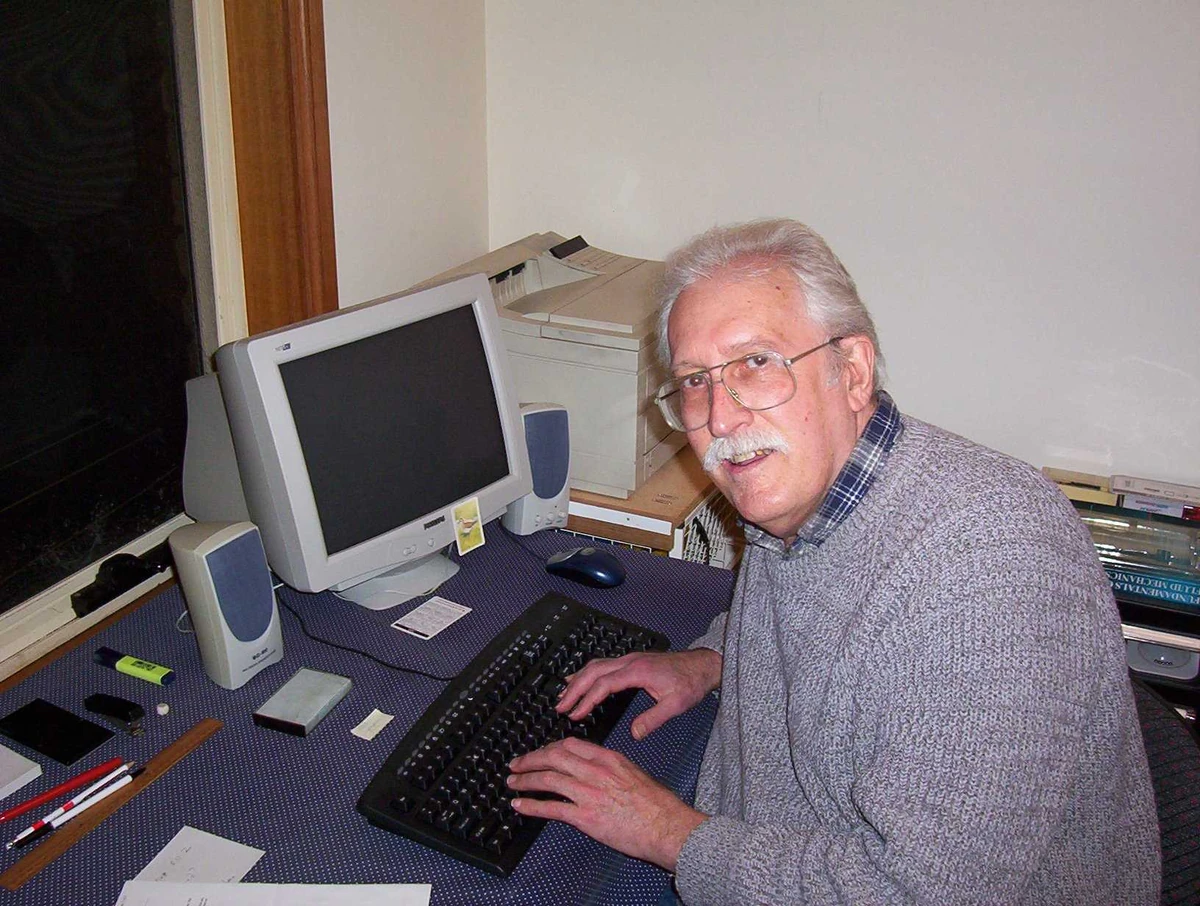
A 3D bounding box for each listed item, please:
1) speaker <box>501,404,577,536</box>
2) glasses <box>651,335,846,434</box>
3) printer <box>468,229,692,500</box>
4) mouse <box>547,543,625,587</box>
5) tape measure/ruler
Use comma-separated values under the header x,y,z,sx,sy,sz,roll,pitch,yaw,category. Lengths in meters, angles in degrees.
x,y,z,sx,sy,sz,roll,pitch,yaw,category
-0.136,0.036,1.953,0.152,0.297,0.181,16,29,25,speaker
0.209,-0.098,1.408,0.174,0.053,0.181,-15,15,44,glasses
-0.037,-0.215,2.522,0.544,0.635,0.732,11,29,23,printer
-0.023,0.210,1.847,0.125,0.044,0.075,13,26,19,mouse
-0.693,0.500,1.443,0.076,0.020,0.469,27,33,16,tape measure/ruler
